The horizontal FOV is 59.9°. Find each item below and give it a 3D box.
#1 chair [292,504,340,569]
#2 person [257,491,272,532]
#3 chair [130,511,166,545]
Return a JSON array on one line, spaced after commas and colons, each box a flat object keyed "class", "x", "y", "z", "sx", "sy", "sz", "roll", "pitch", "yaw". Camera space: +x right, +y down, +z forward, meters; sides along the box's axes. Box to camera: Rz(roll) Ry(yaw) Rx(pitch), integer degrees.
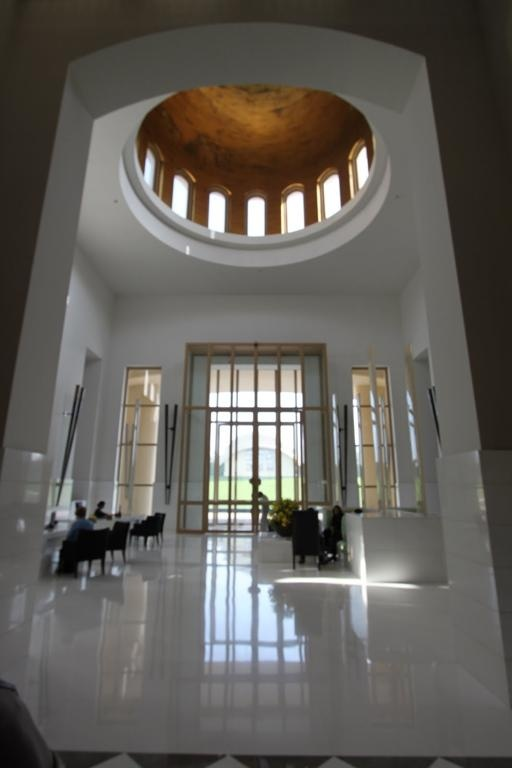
[{"class": "chair", "x": 1.074, "y": 2.724, "z": 7.868, "sx": 0.985, "sy": 0.882, "sz": 1.148, "roll": 0, "pitch": -1, "yaw": 5}, {"class": "person", "x": 0.232, "y": 4.210, "z": 14.509, "sx": 0.368, "sy": 1.195, "sz": 0.630, "roll": 0, "pitch": -15, "yaw": 0}, {"class": "chair", "x": -2.676, "y": 3.649, "z": 11.009, "sx": 0.528, "sy": 0.789, "sz": 1.716, "roll": 2, "pitch": -18, "yaw": -4}]
